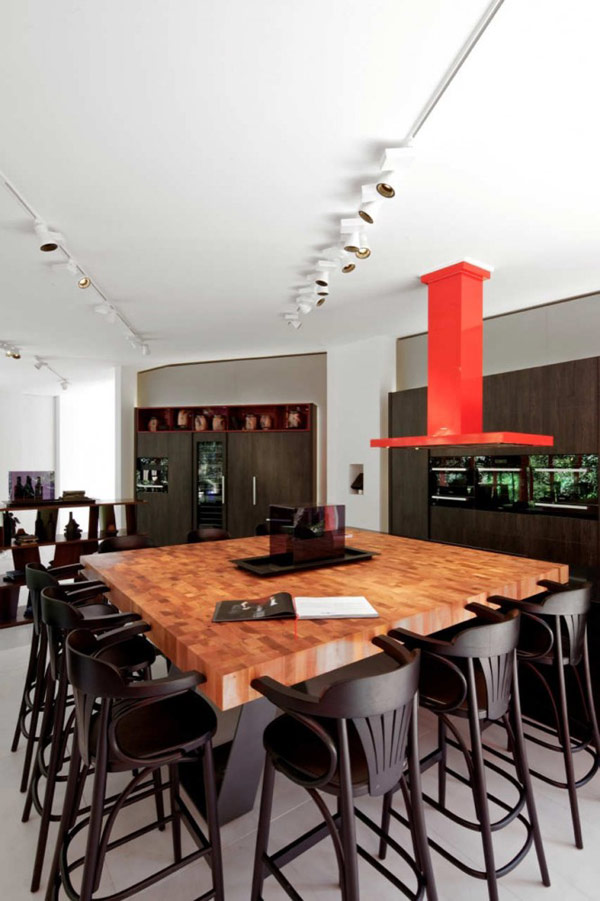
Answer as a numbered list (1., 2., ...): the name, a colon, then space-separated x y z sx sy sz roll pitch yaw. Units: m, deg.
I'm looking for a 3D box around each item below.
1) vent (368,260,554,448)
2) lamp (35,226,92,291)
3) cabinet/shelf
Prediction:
1. vent: 1.142 -0.669 4.011 0.606 1.227 0.974 1 -1 -39
2. lamp: -1.302 -1.056 3.174 0.130 0.163 0.401 -33 -6 -1
3. cabinet/shelf: -0.928 0.243 6.873 2.418 1.371 0.512 -3 -1 25
